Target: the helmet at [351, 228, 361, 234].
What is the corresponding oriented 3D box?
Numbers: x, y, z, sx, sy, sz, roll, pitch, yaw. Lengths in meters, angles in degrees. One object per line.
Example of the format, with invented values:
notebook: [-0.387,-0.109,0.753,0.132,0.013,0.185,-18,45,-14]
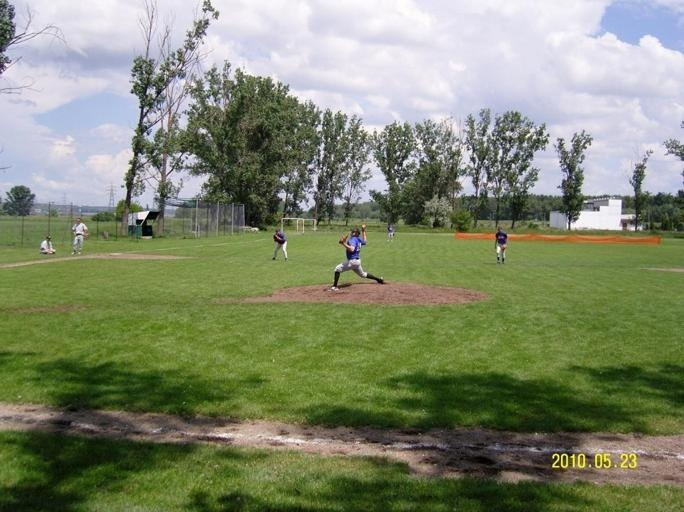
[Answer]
helmet: [0.454,-0.841,22.953,0.200,0.266,0.199,-2,12,-40]
